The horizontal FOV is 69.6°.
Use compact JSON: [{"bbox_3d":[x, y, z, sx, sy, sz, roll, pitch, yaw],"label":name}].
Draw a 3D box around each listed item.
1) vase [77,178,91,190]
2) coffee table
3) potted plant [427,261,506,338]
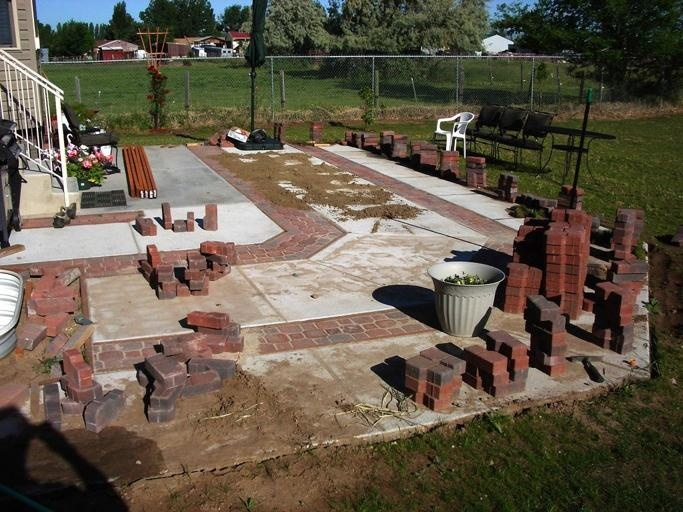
[{"bbox_3d":[-5.380,-1.509,10.299,0.153,0.218,0.367,0,17,4],"label":"vase"},{"bbox_3d":[6.301,-2.859,13.804,2.187,0.938,2.215,8,23,38],"label":"coffee table"},{"bbox_3d":[1.334,0.508,5.416,0.839,0.580,0.862,11,15,31],"label":"potted plant"}]
